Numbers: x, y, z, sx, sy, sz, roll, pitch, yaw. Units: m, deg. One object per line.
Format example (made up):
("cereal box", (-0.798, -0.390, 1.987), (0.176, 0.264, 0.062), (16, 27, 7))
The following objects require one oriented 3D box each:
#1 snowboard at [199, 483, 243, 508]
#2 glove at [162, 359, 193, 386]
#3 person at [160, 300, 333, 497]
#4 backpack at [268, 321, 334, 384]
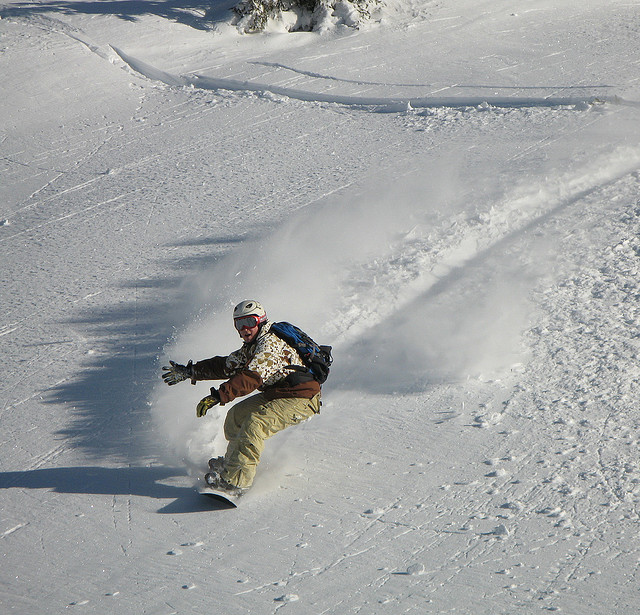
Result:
("snowboard", (-0.898, 1.657, 8.458), (0.309, 0.100, 0.232), (27, 24, 27))
("glove", (-1.382, 0.645, 9.214), (0.418, 0.220, 0.137), (-8, 11, 17))
("person", (-0.700, 0.818, 8.677), (1.063, 1.397, 1.494), (15, 48, 26))
("backpack", (-0.114, 0.388, 8.833), (0.553, 0.578, 0.375), (28, 58, 35))
